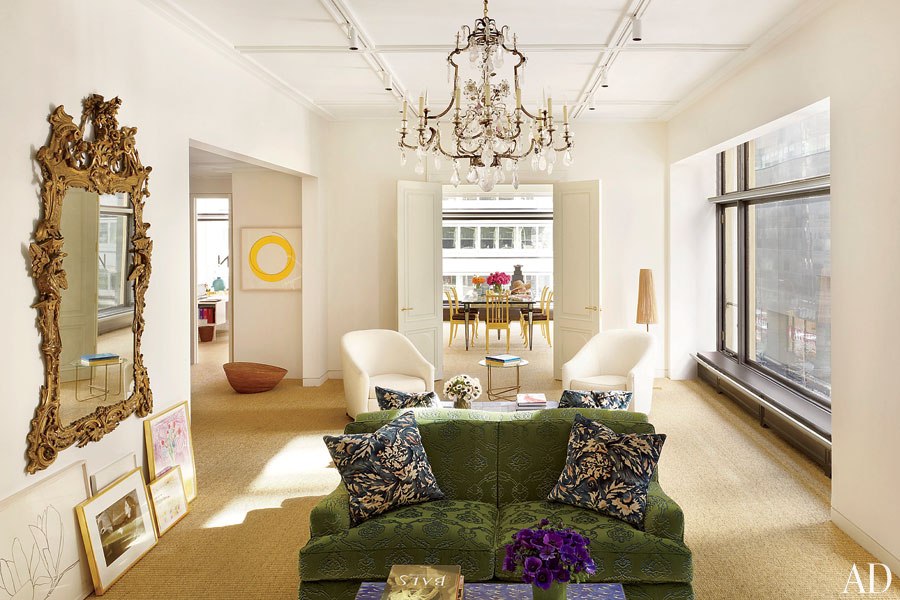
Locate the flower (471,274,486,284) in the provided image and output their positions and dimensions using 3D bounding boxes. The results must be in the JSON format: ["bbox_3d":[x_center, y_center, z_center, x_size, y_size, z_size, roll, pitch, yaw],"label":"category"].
[{"bbox_3d":[0.637,-0.505,12.627,0.250,0.138,0.286,-1,-6,8],"label":"flower"}]

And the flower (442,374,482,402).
[{"bbox_3d":[0.118,0.793,5.353,0.291,0.322,0.319,3,9,24],"label":"flower"}]

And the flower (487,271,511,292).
[{"bbox_3d":[1.115,-0.396,11.898,0.442,0.452,0.442,0,2,-15],"label":"flower"}]

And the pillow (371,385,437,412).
[{"bbox_3d":[-0.366,0.808,4.615,0.486,0.171,0.541,-1,5,3],"label":"pillow"}]

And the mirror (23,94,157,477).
[{"bbox_3d":[-2.659,-0.198,4.178,0.290,2.625,1.086,-1,5,6],"label":"mirror"}]

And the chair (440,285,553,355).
[{"bbox_3d":[1.137,0.578,11.960,1.663,0.784,1.691,-1,6,-2],"label":"chair"}]

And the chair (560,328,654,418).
[{"bbox_3d":[1.826,0.706,6.778,1.098,1.154,1.029,1,-2,35],"label":"chair"}]

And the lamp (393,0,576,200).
[{"bbox_3d":[0.348,-2.090,5.834,1.602,2.346,1.634,3,7,26],"label":"lamp"}]

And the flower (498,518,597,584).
[{"bbox_3d":[0.539,1.342,3.021,0.391,0.277,0.384,1,1,29],"label":"flower"}]

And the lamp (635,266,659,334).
[{"bbox_3d":[2.902,-0.078,8.348,0.269,0.776,0.378,0,5,19],"label":"lamp"}]

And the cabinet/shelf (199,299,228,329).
[{"bbox_3d":[-5.211,0.278,12.379,0.334,0.446,0.631,-1,2,9],"label":"cabinet/shelf"}]

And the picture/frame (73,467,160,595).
[{"bbox_3d":[-2.500,1.715,4.191,0.077,0.671,0.801,-13,6,16],"label":"picture/frame"}]
